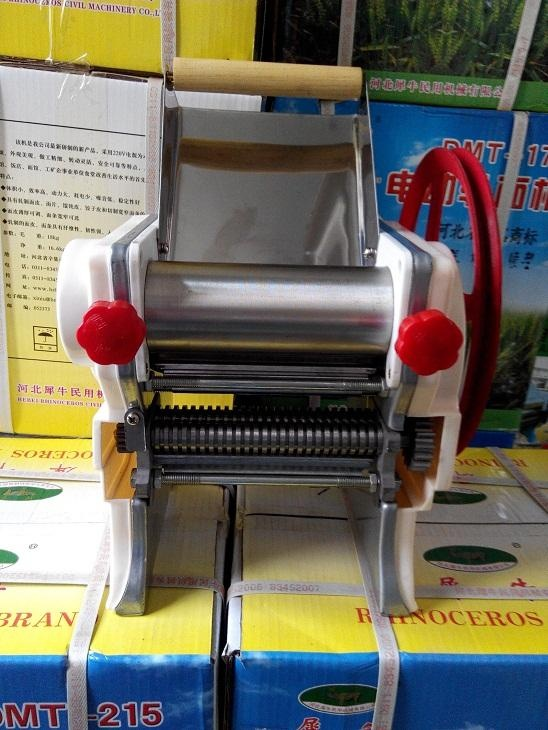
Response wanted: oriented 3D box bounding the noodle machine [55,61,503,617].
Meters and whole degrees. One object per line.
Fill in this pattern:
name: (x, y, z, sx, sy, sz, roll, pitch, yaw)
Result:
noodle machine: (0.002, -0.088, 0.956, 0.668, 0.802, 0.543, 2, 25, -2)
